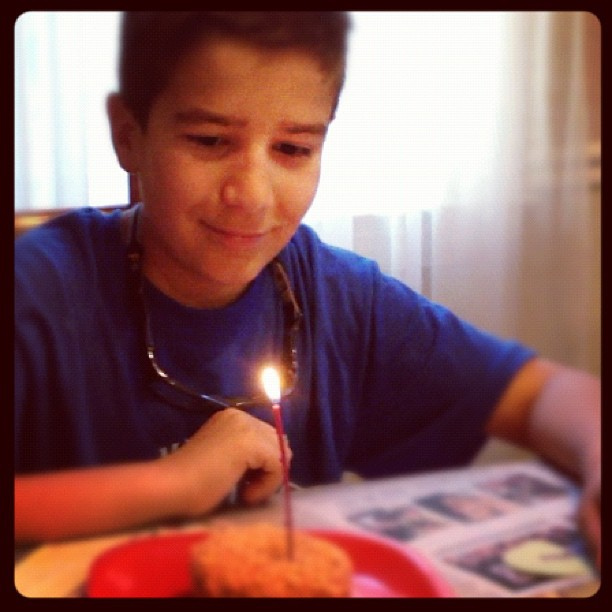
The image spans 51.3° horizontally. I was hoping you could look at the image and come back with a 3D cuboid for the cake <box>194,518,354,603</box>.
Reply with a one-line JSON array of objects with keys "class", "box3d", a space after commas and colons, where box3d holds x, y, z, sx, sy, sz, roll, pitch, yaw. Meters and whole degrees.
[{"class": "cake", "box3d": [-0.044, 0.361, 0.900, 0.222, 0.107, 0.047, -1, 12, -1]}]
